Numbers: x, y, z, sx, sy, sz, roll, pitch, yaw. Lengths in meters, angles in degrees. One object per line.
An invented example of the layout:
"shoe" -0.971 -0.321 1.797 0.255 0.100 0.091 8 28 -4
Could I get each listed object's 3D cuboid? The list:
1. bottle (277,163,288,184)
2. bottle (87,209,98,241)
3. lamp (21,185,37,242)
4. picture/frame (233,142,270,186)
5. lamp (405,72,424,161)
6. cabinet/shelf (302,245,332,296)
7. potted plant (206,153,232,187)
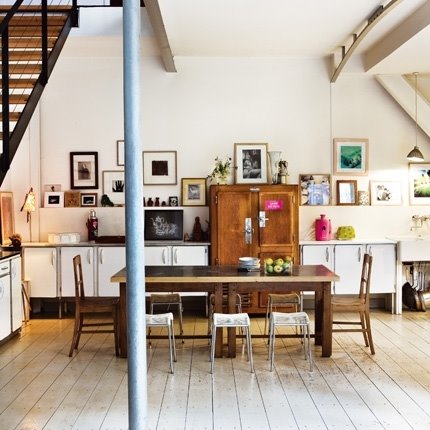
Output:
"bottle" 1.058 -0.665 6.898 0.162 0.367 0.309 0 2 11
"bottle" -1.948 0.164 7.079 0.183 0.490 0.337 -1 2 -15
"lamp" -2.925 -0.003 6.979 0.229 0.863 0.404 -1 3 -25
"picture/frame" 0.595 -0.814 7.152 0.623 0.881 0.055 0 -7 -5
"lamp" 3.277 -1.585 7.228 0.254 1.400 0.476 1 3 26
"cabinet/shelf" 1.546 0.714 6.904 0.377 0.607 0.403 0 -5 1
"potted plant" 0.110 -0.740 7.104 0.387 0.527 0.439 1 2 8
